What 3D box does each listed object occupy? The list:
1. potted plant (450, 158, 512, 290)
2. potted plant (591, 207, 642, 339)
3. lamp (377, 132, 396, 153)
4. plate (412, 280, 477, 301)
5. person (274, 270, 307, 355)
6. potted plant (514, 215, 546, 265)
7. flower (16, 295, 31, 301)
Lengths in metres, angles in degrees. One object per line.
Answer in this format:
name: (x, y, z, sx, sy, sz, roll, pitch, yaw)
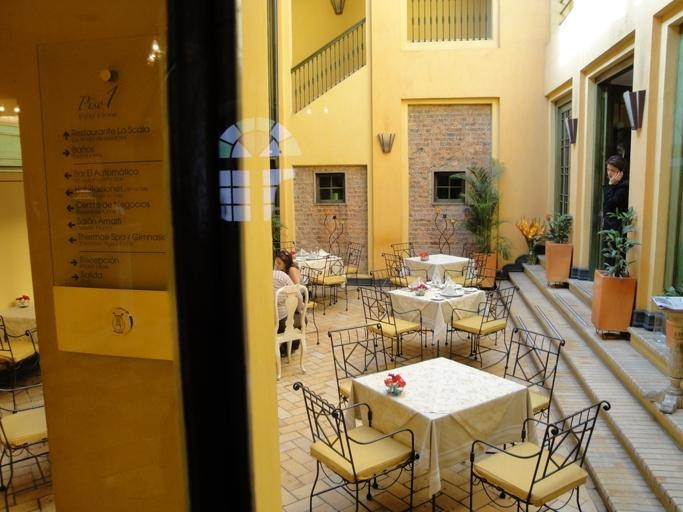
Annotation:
potted plant: (3.162, -0.626, 11.769, 1.102, 2.515, 1.242, -4, -3, 27)
potted plant: (3.343, 0.179, 6.528, 0.470, 1.521, 0.920, 0, 6, 22)
lamp: (0.995, -2.521, 11.967, 0.409, 0.474, 0.408, -2, 3, -4)
plate: (1.404, 0.435, 7.478, 0.912, 0.201, 0.783, -7, 7, -38)
person: (-0.643, 0.768, 6.781, 0.325, 1.296, 1.148, -2, 5, -5)
potted plant: (4.183, -0.367, 11.548, 0.760, 1.469, 0.886, 1, 6, 18)
flower: (-0.952, 0.123, 1.590, 0.057, 0.020, 0.012, 1, 6, 35)
